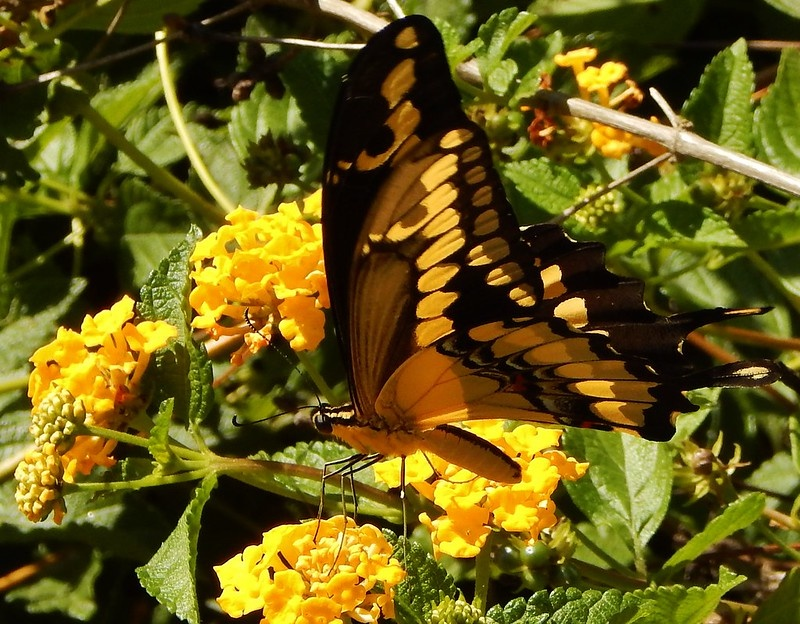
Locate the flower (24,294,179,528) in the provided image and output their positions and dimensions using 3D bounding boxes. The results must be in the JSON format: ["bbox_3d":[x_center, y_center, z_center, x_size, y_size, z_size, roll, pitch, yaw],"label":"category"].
[{"bbox_3d":[-0.766,0.186,2.807,0.176,0.449,0.367,22,22,-44],"label":"flower"}]

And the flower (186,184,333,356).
[{"bbox_3d":[-0.306,-0.083,2.974,0.478,0.230,0.395,-22,54,13],"label":"flower"}]

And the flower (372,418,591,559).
[{"bbox_3d":[0.210,0.422,2.794,0.434,0.186,0.424,-31,40,-28],"label":"flower"}]
